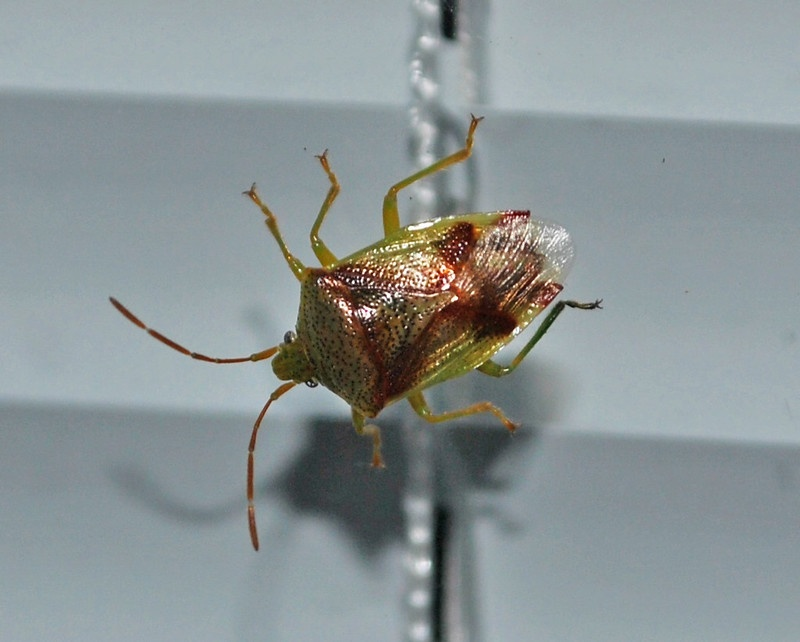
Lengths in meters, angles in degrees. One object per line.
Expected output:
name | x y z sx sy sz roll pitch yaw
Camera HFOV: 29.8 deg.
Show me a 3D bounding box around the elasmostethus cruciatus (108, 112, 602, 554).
elasmostethus cruciatus | -0.104 0.119 6.791 2.056 0.470 1.630 -23 72 -10
